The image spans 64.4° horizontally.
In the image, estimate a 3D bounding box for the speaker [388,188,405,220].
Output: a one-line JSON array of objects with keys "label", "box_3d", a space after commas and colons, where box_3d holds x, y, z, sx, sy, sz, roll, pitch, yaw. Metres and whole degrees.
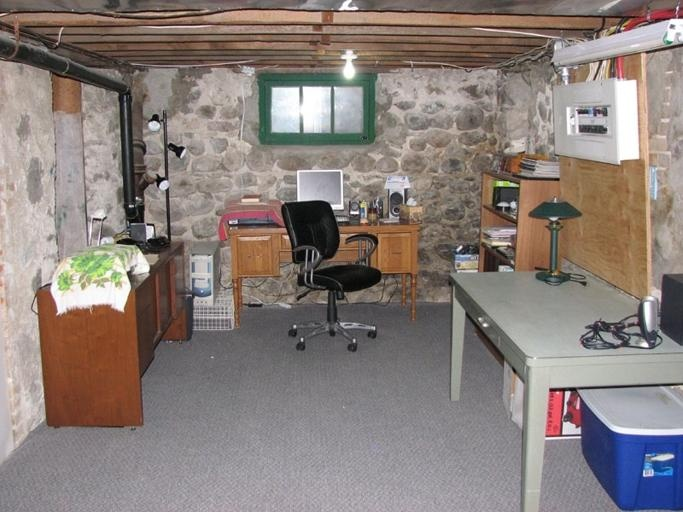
[{"label": "speaker", "box_3d": [0.614, -0.582, 6.072, 0.202, 0.302, 0.172, -3, 10, -3]}]

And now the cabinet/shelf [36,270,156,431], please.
[{"label": "cabinet/shelf", "box_3d": [-1.787, 0.625, 4.315, 0.685, 0.977, 1.252, 0, 9, -2]}]

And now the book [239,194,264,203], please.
[{"label": "book", "box_3d": [-1.014, -0.615, 5.899, 0.224, 0.077, 0.330, -4, 10, -10]}]

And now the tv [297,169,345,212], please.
[{"label": "tv", "box_3d": [-0.260, -0.766, 6.111, 0.629, 0.472, 0.412, -1, 9, -2]}]

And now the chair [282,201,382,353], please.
[{"label": "chair", "box_3d": [-0.109, 0.169, 5.247, 0.973, 1.331, 0.975, -2, 9, -14]}]

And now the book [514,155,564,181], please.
[{"label": "book", "box_3d": [1.780, -0.801, 4.901, 0.330, 0.212, 0.542, 1, 10, 18]}]

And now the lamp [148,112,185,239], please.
[{"label": "lamp", "box_3d": [-1.962, -0.786, 5.999, 0.451, 1.573, 0.345, 9, 28, -3]}]

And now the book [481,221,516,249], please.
[{"label": "book", "box_3d": [1.544, -0.198, 5.325, 0.268, 0.084, 0.259, 2, 15, 7]}]
